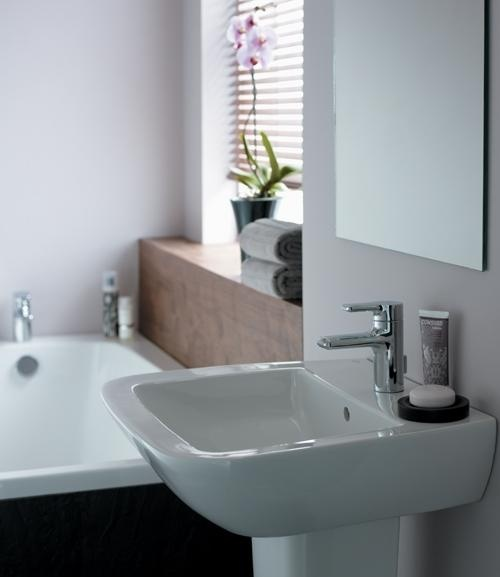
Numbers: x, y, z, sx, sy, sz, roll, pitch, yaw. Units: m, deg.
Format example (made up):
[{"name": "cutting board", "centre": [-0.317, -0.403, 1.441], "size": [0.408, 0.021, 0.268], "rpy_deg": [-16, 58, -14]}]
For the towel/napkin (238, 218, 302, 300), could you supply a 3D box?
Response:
[{"name": "towel/napkin", "centre": [0.057, -0.077, 1.361], "size": [0.128, 0.213, 0.219], "rpy_deg": [-1, 7, -17]}]

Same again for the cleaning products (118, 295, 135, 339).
[{"name": "cleaning products", "centre": [-0.586, 0.143, 2.433], "size": [0.088, 0.195, 0.084], "rpy_deg": [-1, 0, -31]}]

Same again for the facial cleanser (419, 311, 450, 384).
[{"name": "facial cleanser", "centre": [0.256, 0.082, 0.724], "size": [0.058, 0.096, 0.047], "rpy_deg": [0, 17, 19]}]

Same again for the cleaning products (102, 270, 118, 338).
[{"name": "cleaning products", "centre": [-0.670, 0.075, 2.441], "size": [0.080, 0.313, 0.077], "rpy_deg": [0, 7, -9]}]

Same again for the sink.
[{"name": "sink", "centre": [0.075, 0.115, 0.596], "size": [0.297, 0.078, 0.298], "rpy_deg": [-1, 2, -21]}]

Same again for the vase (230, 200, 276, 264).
[{"name": "vase", "centre": [0.009, -0.191, 1.779], "size": [0.201, 0.268, 0.202], "rpy_deg": [2, 5, 23]}]
